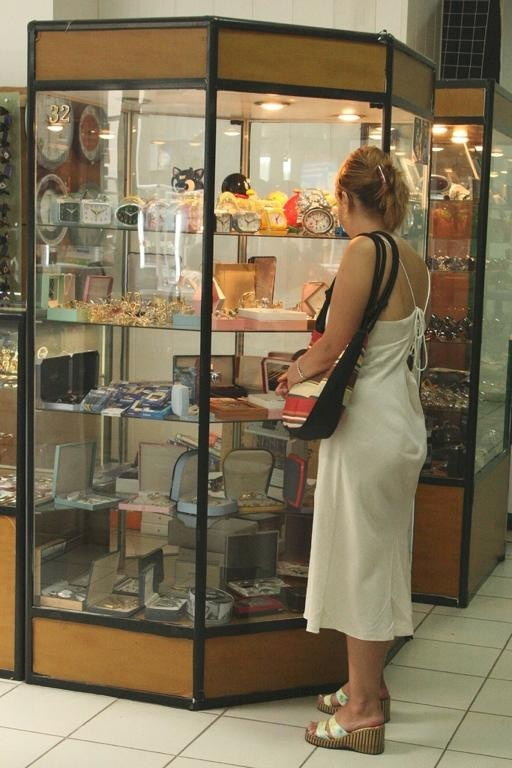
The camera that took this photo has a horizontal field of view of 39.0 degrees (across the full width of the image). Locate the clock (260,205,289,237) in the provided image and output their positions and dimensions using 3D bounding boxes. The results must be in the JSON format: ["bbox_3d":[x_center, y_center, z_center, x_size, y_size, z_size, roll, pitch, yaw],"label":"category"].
[{"bbox_3d":[0.063,-0.564,2.526,0.098,0.101,0.041,-1,-2,-26],"label":"clock"}]

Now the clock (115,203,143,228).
[{"bbox_3d":[-0.444,-0.583,2.515,0.091,0.086,0.021,-13,7,23],"label":"clock"}]

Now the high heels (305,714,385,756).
[{"bbox_3d":[0.274,1.069,2.234,0.229,0.085,0.094,4,0,20],"label":"high heels"}]

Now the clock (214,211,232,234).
[{"bbox_3d":[-0.106,-0.531,2.377,0.070,0.066,0.065,3,9,12],"label":"clock"}]

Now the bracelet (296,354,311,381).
[{"bbox_3d":[0.140,-0.047,2.134,0.018,0.064,0.050,-5,26,-5],"label":"bracelet"}]

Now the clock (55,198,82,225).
[{"bbox_3d":[-0.661,-0.603,2.537,0.100,0.104,0.014,-2,4,-27],"label":"clock"}]

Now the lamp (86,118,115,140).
[{"bbox_3d":[-0.533,-0.876,2.508,0.115,0.058,0.052,3,2,26],"label":"lamp"}]

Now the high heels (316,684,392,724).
[{"bbox_3d":[0.326,1.048,2.377,0.266,0.091,0.104,3,2,41],"label":"high heels"}]

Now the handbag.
[{"bbox_3d":[0.181,0.004,2.054,0.234,0.314,0.101,3,2,38],"label":"handbag"}]

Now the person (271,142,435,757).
[{"bbox_3d":[0.303,0.204,2.172,0.448,1.817,0.338,2,2,-3],"label":"person"}]
